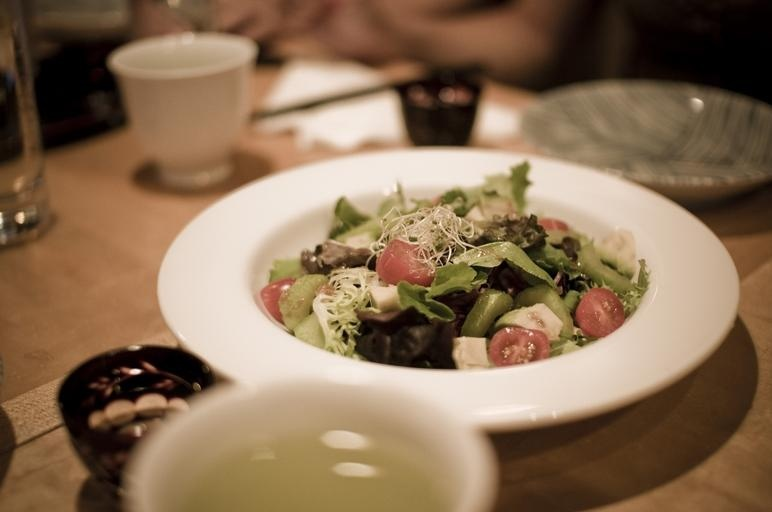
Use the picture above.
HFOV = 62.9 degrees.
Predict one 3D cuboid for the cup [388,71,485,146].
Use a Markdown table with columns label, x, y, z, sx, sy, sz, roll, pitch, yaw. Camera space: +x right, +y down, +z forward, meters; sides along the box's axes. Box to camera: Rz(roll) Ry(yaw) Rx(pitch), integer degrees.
| label | x | y | z | sx | sy | sz | roll | pitch | yaw |
| --- | --- | --- | --- | --- | --- | --- | --- | --- | --- |
| cup | 0.186 | -0.445 | 1.995 | 0.248 | 0.204 | 0.195 | -1 | 5 | 14 |

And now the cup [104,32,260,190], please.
| label | x | y | z | sx | sy | sz | roll | pitch | yaw |
| --- | --- | --- | --- | --- | --- | --- | --- | --- | --- |
| cup | -0.490 | -0.392 | 1.777 | 0.438 | 0.332 | 0.420 | 0 | 33 | 0 |

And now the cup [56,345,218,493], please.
| label | x | y | z | sx | sy | sz | roll | pitch | yaw |
| --- | --- | --- | --- | --- | --- | --- | --- | --- | --- |
| cup | -0.458 | 0.290 | 1.151 | 0.250 | 0.136 | 0.244 | 16 | 6 | -2 |
